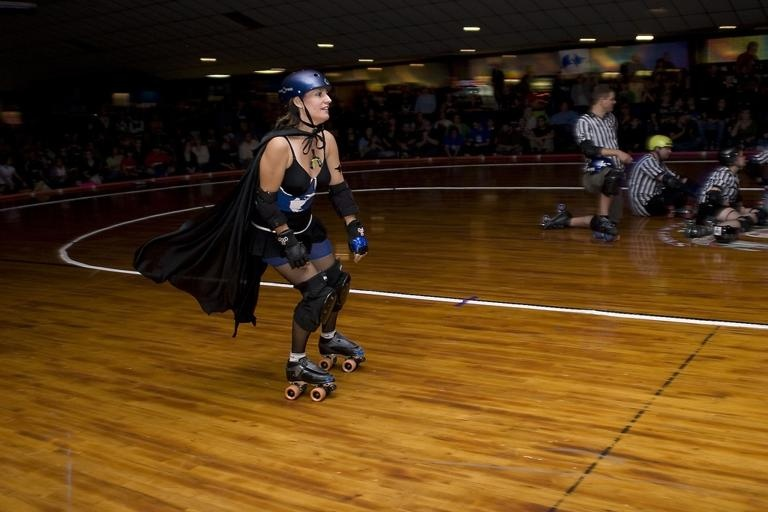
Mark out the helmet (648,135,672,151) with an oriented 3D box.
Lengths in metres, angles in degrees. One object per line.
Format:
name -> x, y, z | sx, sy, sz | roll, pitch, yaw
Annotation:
helmet -> 3.437, -1.409, 6.628 | 0.234, 0.190, 0.268 | 4, 12, 26

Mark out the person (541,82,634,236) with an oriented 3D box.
person -> 2.392, -1.090, 6.166 | 0.847, 1.757, 0.915 | 2, 14, 20

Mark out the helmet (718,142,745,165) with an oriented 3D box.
helmet -> 3.826, -1.107, 5.900 | 0.204, 0.208, 0.365 | 5, 12, 28

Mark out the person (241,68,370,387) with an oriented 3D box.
person -> -0.515, -0.100, 3.311 | 0.963, 1.832, 0.815 | 8, 18, 9

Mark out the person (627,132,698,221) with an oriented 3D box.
person -> 3.685, -0.949, 6.809 | 1.073, 1.164, 0.720 | 6, 27, 41

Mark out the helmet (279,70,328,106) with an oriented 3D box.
helmet -> -0.461, -0.969, 3.029 | 0.295, 0.113, 0.184 | -1, 17, 4

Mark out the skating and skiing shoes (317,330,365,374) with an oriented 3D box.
skating and skiing shoes -> -0.270, 0.616, 3.400 | 0.390, 0.181, 0.217 | 0, 5, 11
